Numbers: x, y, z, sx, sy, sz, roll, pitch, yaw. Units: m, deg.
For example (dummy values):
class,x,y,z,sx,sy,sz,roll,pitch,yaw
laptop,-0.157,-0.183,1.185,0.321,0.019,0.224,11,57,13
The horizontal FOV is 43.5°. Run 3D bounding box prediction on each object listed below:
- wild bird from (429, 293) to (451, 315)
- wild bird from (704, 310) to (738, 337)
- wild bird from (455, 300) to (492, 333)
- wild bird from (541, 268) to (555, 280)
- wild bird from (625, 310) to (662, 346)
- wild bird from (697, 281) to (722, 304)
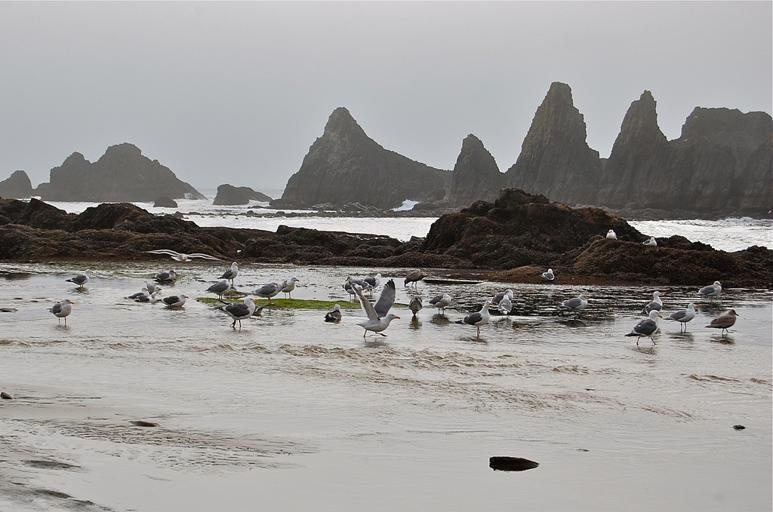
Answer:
class,x,y,z,sx,sy,sz,roll,pitch,yaw
wild bird,2.072,1.666,35.231,0.612,0.605,0.893,-7,-7,-34
wild bird,11.174,2.108,32.193,0.795,0.836,1.281,4,6,15
wild bird,2.972,2.041,32.049,1.456,0.957,0.725,-6,2,33
wild bird,7.784,0.927,46.502,0.566,0.409,0.668,5,2,31
wild bird,8.045,2.199,30.400,1.388,0.876,0.652,-7,11,-33
wild bird,13.360,1.424,39.891,0.801,0.757,1.510,4,6,15
